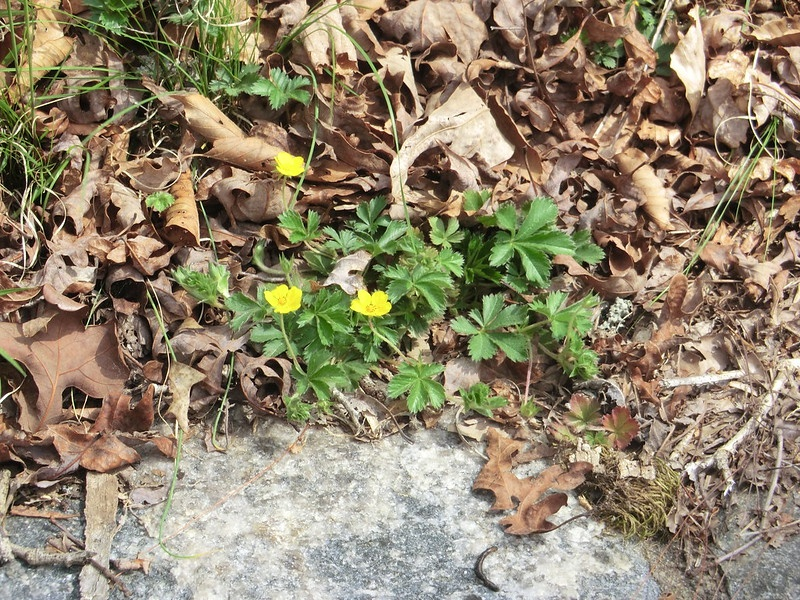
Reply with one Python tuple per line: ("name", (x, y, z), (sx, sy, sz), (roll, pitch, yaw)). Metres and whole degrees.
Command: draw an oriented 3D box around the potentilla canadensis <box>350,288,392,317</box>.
("potentilla canadensis", (-0.117, 0.014, 2.767), (0.148, 0.068, 0.089), (4, 62, -1))
